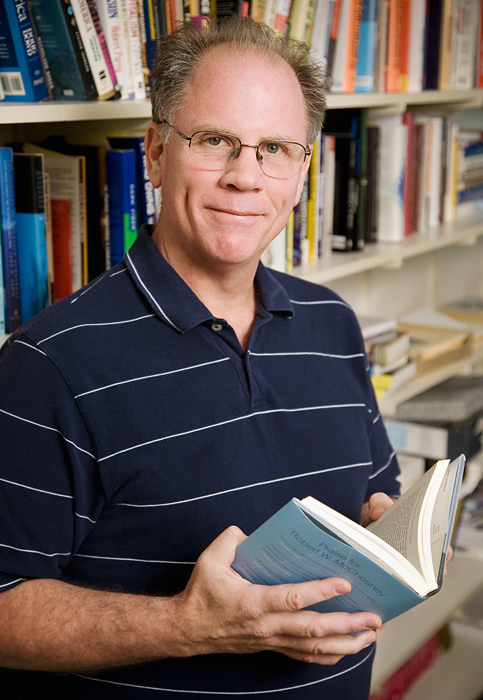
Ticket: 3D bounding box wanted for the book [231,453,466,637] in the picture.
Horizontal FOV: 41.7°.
[{"bbox_3d":[0.099,0.204,0.620,0.205,0.090,0.216,15,-36,-15],"label":"book"}]
